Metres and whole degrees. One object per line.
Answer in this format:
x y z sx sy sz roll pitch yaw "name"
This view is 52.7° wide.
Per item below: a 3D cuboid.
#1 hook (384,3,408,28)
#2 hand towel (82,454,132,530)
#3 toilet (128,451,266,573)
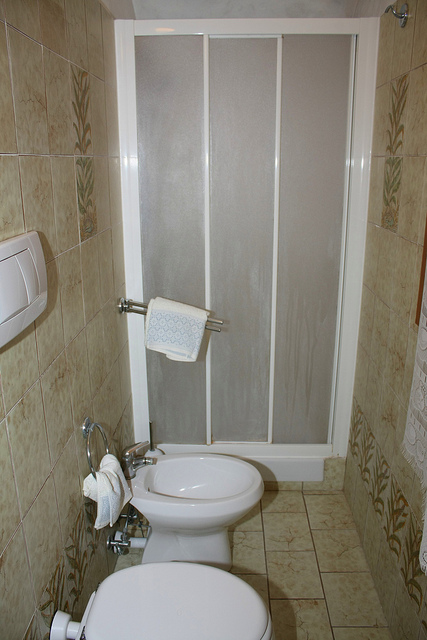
0.559 -0.929 1.318 0.043 0.071 0.091 2 11 17 "hook"
-0.284 0.463 1.167 0.064 0.194 0.148 1 18 -2 "hand towel"
-0.062 0.639 1.511 0.342 0.439 0.390 0 27 -2 "toilet"
